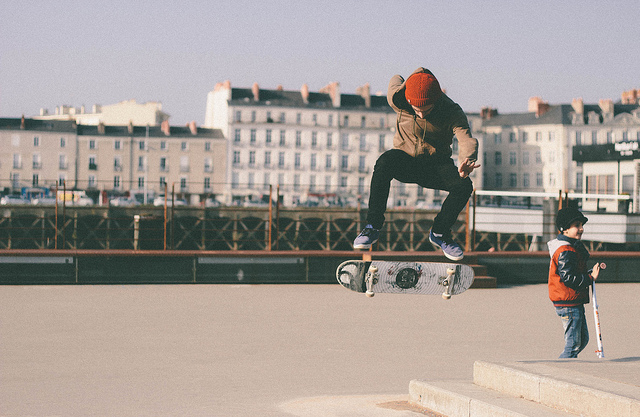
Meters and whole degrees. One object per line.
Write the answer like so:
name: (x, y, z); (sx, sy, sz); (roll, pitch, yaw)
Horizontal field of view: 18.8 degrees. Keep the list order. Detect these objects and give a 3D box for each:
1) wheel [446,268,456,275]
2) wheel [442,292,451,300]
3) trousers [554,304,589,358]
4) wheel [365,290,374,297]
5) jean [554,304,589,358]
wheel: (8.195, 3.889, 118.359); (0.502, 0.389, 0.133); (1, 1, 3)
wheel: (7.861, 5.430, 118.500); (0.518, 0.313, 0.501); (2, 3, 0)
trousers: (15.643, 7.538, 118.045); (1.895, 4.030, 1.503); (-15, 16, -24)
wheel: (3.137, 5.255, 118.231); (0.439, 0.153, 0.415); (3, 7, 0)
jean: (15.542, 7.452, 118.022); (2.230, 3.038, 2.041); (-13, -2, 41)
